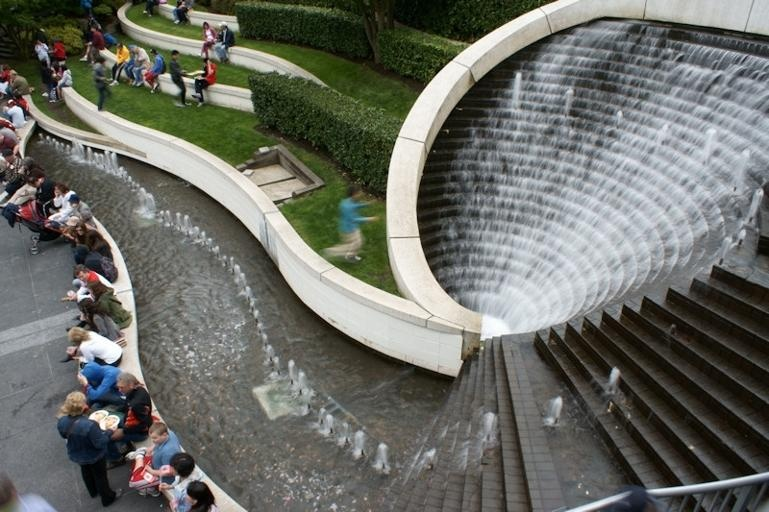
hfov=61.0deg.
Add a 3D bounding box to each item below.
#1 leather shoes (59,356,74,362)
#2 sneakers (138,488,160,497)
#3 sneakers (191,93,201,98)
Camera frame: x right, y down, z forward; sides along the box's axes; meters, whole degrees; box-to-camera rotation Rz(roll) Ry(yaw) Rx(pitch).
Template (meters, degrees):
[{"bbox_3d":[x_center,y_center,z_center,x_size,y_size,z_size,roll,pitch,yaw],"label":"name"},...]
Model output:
[{"bbox_3d":[-7.586,2.453,15.579,0.354,0.108,0.146,-7,48,22],"label":"leather shoes"},{"bbox_3d":[-4.729,4.767,13.217,0.423,0.186,0.162,7,30,-4],"label":"sneakers"},{"bbox_3d":[-7.012,-6.102,24.410,0.312,0.216,0.103,22,30,6],"label":"sneakers"}]
